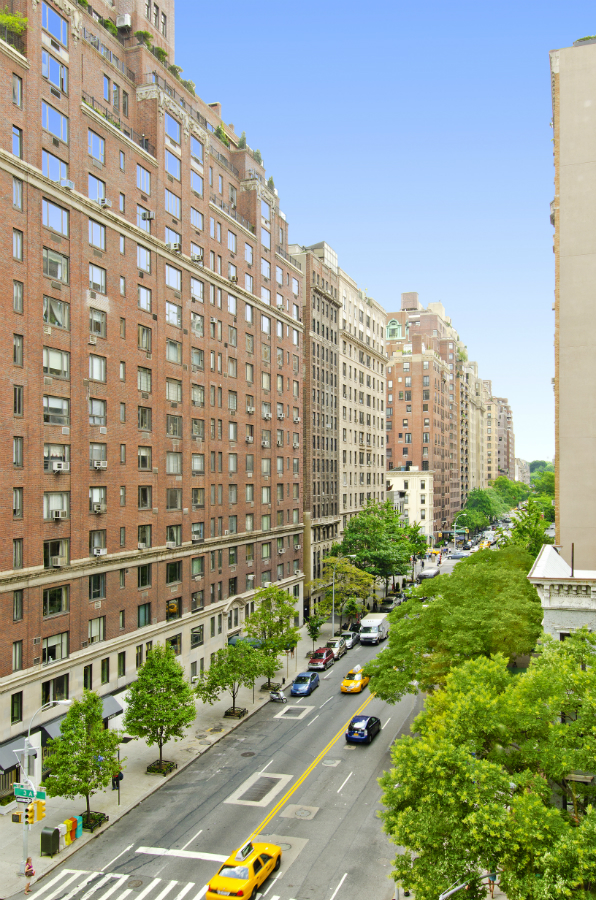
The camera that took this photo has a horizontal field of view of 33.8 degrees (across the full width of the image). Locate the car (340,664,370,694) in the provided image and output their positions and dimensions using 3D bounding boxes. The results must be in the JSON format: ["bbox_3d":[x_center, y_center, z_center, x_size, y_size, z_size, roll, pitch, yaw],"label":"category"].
[{"bbox_3d":[3.454,14.405,60.818,1.717,1.223,2.269,0,2,2],"label":"car"}]

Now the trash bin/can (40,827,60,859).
[{"bbox_3d":[-9.376,14.758,37.057,0.657,1.089,0.573,-1,2,-15],"label":"trash bin/can"}]

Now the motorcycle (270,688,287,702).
[{"bbox_3d":[-1.266,14.768,58.581,0.834,0.403,0.541,-3,-1,28],"label":"motorcycle"}]

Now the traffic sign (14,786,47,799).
[{"bbox_3d":[-10.039,12.822,36.798,0.881,0.317,0.857,2,-7,-1],"label":"traffic sign"}]

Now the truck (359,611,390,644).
[{"bbox_3d":[5.599,14.086,77.282,2.748,2.654,5.320,-4,-15,14],"label":"truck"}]

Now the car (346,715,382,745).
[{"bbox_3d":[3.234,14.471,50.619,1.251,1.145,2.305,0,2,18],"label":"car"}]
